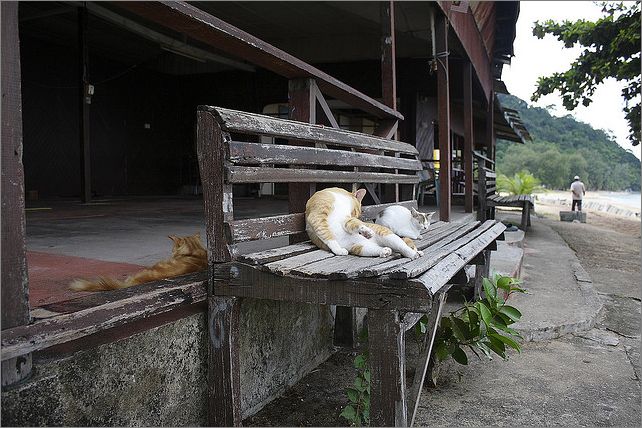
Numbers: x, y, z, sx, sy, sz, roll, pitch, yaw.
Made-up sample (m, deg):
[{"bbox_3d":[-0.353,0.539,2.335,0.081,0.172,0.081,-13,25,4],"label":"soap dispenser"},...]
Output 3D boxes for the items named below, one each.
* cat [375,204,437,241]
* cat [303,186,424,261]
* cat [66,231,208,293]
[{"bbox_3d":[0.584,0.044,2.804,0.345,0.212,0.224,15,11,30],"label":"cat"},{"bbox_3d":[0.239,0.049,2.527,0.567,0.271,0.426,26,2,23],"label":"cat"},{"bbox_3d":[-0.974,0.256,2.305,0.789,0.365,0.272,-10,-9,-45],"label":"cat"}]
